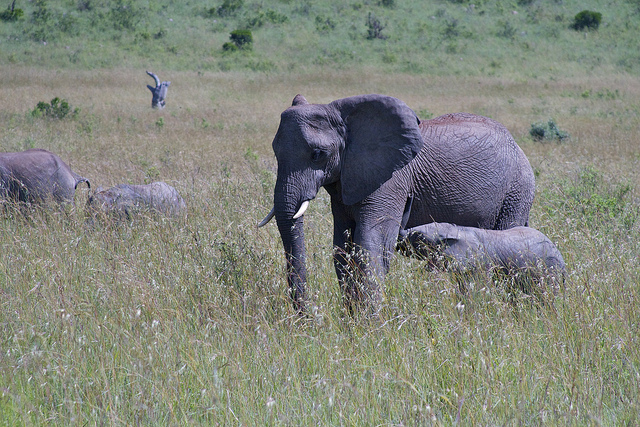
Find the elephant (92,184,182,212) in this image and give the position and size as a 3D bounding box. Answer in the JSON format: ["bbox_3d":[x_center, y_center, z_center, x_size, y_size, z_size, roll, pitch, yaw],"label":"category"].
[{"bbox_3d":[-3.132,-0.263,14.154,1.268,0.710,0.610,7,4,-8],"label":"elephant"}]

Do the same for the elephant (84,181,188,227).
[{"bbox_3d":[-3.206,-0.152,14.099,1.702,0.959,0.748,-2,0,-12],"label":"elephant"}]
